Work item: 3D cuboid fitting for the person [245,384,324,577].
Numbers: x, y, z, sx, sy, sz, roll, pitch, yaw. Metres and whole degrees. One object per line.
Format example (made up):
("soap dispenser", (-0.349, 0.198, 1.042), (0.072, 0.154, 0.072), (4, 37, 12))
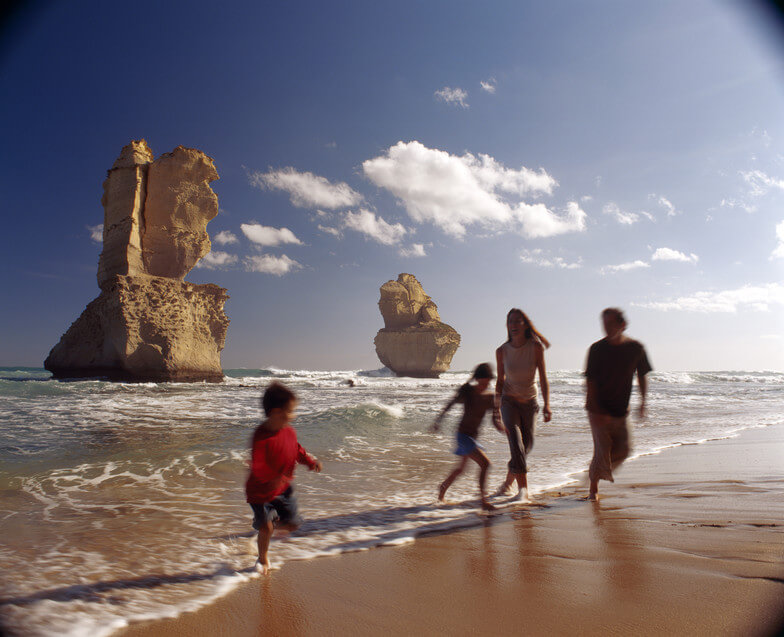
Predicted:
("person", (-0.834, 1.167, 4.164), (0.530, 1.387, 0.665), (1, -5, -12))

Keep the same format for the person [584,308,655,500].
("person", (2.186, 0.858, 5.264), (0.593, 1.898, 0.753), (-2, -5, 19))

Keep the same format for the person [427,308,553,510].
("person", (1.045, 0.899, 5.437), (1.041, 1.953, 1.247), (-1, -5, 13))
